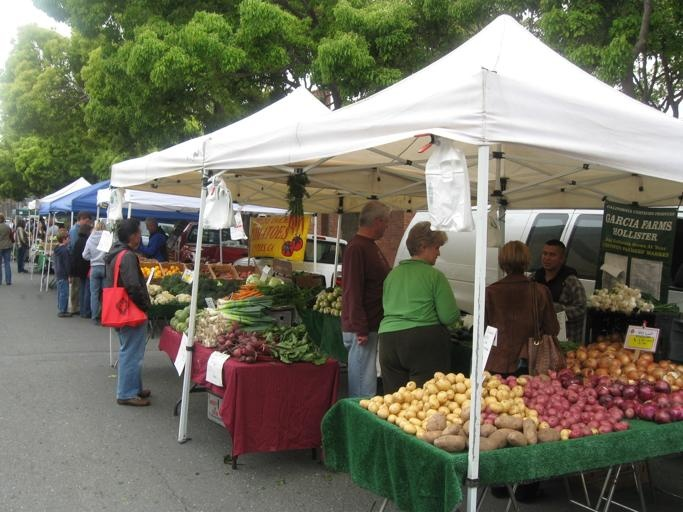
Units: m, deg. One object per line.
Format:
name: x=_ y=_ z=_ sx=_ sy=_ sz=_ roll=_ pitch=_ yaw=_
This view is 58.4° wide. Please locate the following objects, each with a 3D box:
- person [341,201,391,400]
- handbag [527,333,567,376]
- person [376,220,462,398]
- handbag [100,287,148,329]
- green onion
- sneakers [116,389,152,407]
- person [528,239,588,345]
person: x=0.105 y=0.416 z=6.472 sx=0.567 sy=1.922 sz=0.639 roll=0 pitch=0 yaw=-27
handbag: x=1.862 y=0.902 z=5.623 sx=0.339 sy=0.365 sz=0.179 roll=-5 pitch=3 yaw=-11
person: x=0.697 y=0.551 z=5.797 sx=0.659 sy=1.828 sz=0.600 roll=0 pitch=0 yaw=-42
handbag: x=-2.616 y=0.604 z=7.403 sx=0.481 sy=0.540 sz=0.249 roll=1 pitch=4 yaw=-3
green onion: x=-1.248 y=0.665 z=6.850 sx=0.597 sy=0.335 sz=0.590 roll=1 pitch=-1 yaw=-45
sneakers: x=-2.663 y=1.801 z=7.861 sx=0.413 sy=0.198 sz=0.160 roll=-1 pitch=2 yaw=-7
person: x=2.483 y=0.368 z=6.974 sx=0.520 sy=1.727 sz=0.488 roll=0 pitch=0 yaw=-44
